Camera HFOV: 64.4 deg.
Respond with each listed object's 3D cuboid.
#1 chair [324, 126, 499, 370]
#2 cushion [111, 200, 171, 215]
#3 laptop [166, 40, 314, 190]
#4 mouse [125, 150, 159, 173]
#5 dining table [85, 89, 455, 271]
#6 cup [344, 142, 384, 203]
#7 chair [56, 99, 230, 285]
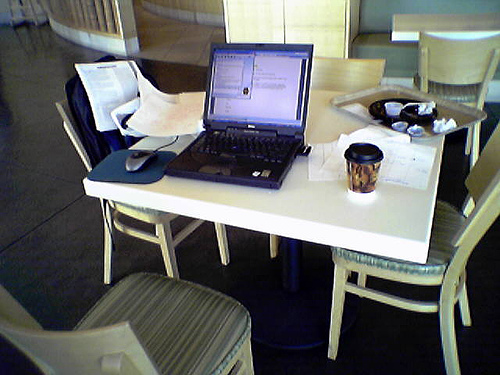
[{"bbox_3d":[0.605,0.276,1.515,0.540,0.912,0.513,13,41,22],"label":"chair"},{"bbox_3d":[-0.460,0.097,1.749,0.122,0.034,0.118,12,15,31],"label":"cushion"},{"bbox_3d":[-0.036,-0.279,1.391,0.514,0.339,0.568,-5,31,2],"label":"laptop"},{"bbox_3d":[-0.395,-0.104,1.430,0.059,0.032,0.111,15,41,18],"label":"mouse"},{"bbox_3d":[0.126,-0.196,1.485,1.210,0.294,0.786,9,36,16],"label":"dining table"},{"bbox_3d":[0.356,-0.054,1.261,0.111,0.159,0.123,7,34,20],"label":"cup"},{"bbox_3d":[-0.464,0.050,1.792,0.567,0.892,0.512,12,42,16],"label":"chair"}]
